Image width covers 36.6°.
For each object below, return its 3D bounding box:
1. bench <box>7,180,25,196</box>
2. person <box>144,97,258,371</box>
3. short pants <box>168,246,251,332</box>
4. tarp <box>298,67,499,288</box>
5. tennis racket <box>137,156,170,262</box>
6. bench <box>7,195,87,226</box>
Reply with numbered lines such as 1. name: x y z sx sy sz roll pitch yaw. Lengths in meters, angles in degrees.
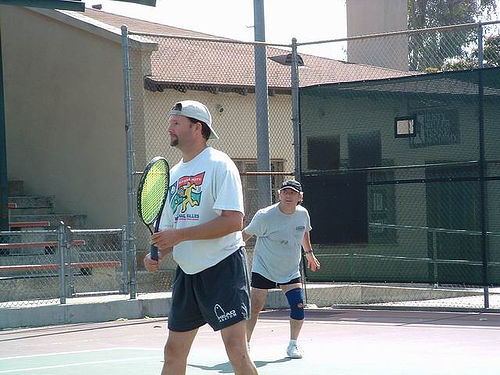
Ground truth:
1. bench: -6.160 0.016 19.897 0.372 0.374 0.287 -1 4 -25
2. person: -0.488 0.483 7.821 0.962 2.766 0.758 0 4 -8
3. short pants: -0.411 1.041 7.790 0.711 0.743 0.408 -16 -33 30
4. tarp: 2.822 -0.098 13.675 3.893 4.131 0.059 -1 -1 19
5. tennis racket: -1.009 0.066 7.887 0.318 0.761 0.281 1 4 2
6. bench: -5.185 0.586 19.151 1.867 0.699 1.275 -1 3 -28
